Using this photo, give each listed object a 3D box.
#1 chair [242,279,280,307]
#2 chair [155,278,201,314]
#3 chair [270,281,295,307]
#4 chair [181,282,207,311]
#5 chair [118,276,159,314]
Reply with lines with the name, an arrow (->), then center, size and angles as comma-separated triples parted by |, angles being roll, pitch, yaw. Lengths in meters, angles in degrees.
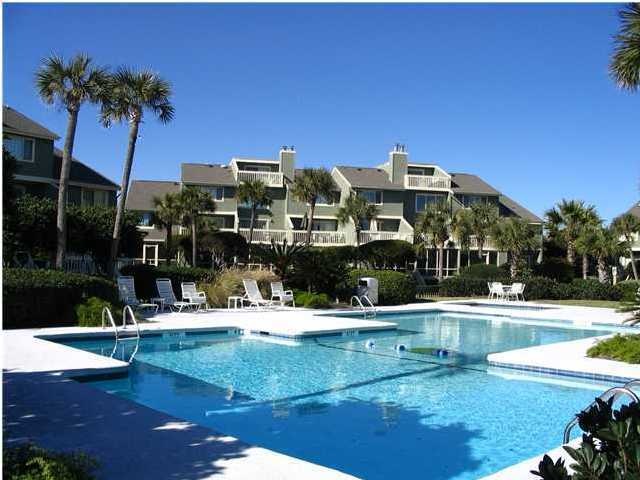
chair -> -2.802, 2.266, 22.618 | 0.937, 1.078, 1.365 | 2, 1, -40
chair -> -5.489, 2.221, 20.995 | 0.933, 1.967, 2.759 | 1, -3, -36
chair -> -1.574, 2.394, 23.422 | 0.904, 1.613, 1.065 | 1, -3, -35
chair -> -5.032, 2.206, 21.124 | 0.984, 1.103, 2.682 | 2, -6, -13
chair -> -6.548, 1.946, 18.301 | 0.577, 1.177, 1.687 | -1, 6, -34
